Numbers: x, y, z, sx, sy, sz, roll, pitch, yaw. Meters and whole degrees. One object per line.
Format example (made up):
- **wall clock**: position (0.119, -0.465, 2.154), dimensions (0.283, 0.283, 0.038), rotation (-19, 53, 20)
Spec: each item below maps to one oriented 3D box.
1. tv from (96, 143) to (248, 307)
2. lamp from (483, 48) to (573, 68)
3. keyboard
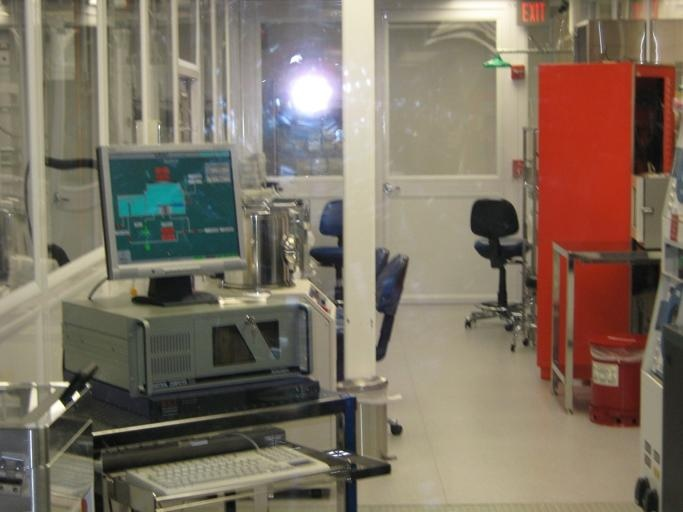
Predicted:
- **tv**: position (-0.539, -0.095, 2.336), dimensions (0.421, 0.495, 0.191), rotation (-6, 14, -26)
- **lamp**: position (1.175, -1.279, 4.822), dimensions (0.566, 0.129, 0.045), rotation (-7, 11, -25)
- **keyboard**: position (-0.307, 0.583, 2.020), dimensions (0.532, 0.026, 0.209), rotation (-6, 12, -19)
